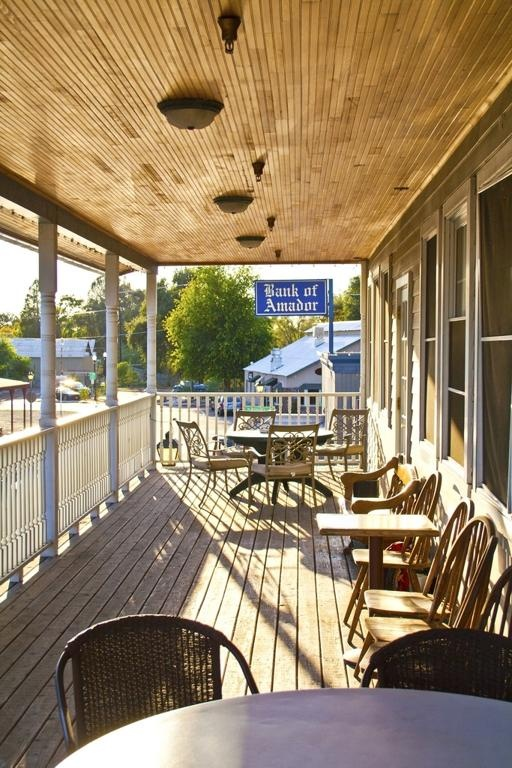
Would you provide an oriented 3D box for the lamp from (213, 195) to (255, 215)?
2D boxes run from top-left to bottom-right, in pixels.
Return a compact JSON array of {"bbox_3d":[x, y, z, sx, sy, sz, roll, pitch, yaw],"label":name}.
[{"bbox_3d":[-0.215,-1.701,5.045,0.377,0.125,0.273,0,-2,-5],"label":"lamp"}]

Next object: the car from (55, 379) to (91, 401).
[{"bbox_3d":[-15.424,0.512,44.968,2.735,1.630,1.717,-3,0,25],"label":"car"}]

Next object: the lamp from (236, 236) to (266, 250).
[{"bbox_3d":[-0.088,-1.858,6.968,0.352,0.157,0.496,0,-2,-1],"label":"lamp"}]
